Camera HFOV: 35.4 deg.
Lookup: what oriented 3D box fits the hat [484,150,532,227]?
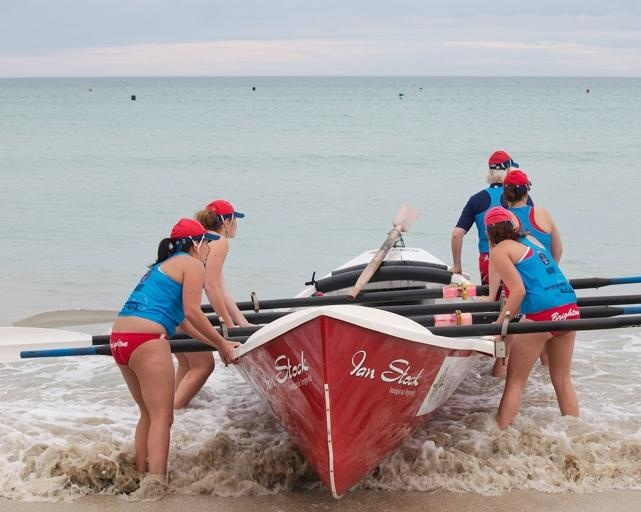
[{"bbox_3d":[2.186,-0.859,12.298,0.496,0.752,0.416,-3,8,35],"label":"hat"}]

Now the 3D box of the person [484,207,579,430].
[{"bbox_3d":[2.151,0.678,10.293,1.021,2.292,0.745,2,7,7],"label":"person"}]

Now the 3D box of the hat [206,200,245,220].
[{"bbox_3d":[-1.004,-0.474,10.741,0.394,0.188,0.243,-3,12,-33],"label":"hat"}]

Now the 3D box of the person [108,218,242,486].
[{"bbox_3d":[-1.498,0.933,9.841,1.082,2.559,0.513,0,8,-11],"label":"person"}]
